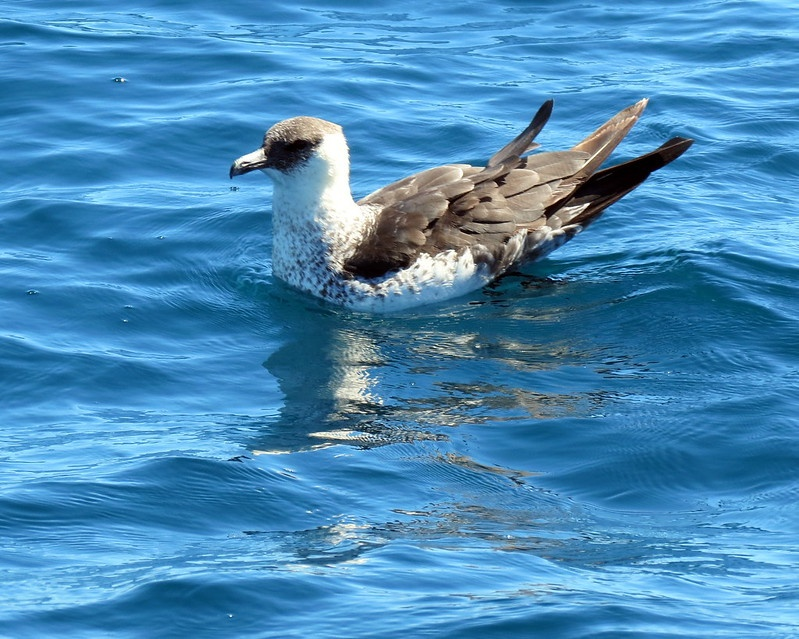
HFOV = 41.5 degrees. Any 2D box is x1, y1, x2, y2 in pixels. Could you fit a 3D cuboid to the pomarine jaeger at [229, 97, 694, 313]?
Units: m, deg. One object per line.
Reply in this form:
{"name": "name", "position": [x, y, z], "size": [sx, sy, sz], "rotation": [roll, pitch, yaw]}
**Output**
{"name": "pomarine jaeger", "position": [0.379, -1.467, 11.031], "size": [3.088, 1.056, 3.922], "rotation": [37, 77, 10]}
